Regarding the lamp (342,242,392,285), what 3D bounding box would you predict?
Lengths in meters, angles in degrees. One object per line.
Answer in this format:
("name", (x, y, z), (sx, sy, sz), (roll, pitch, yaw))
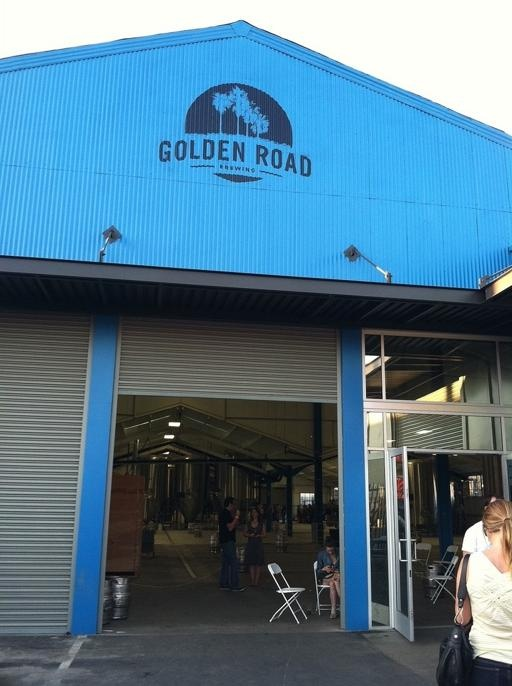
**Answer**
("lamp", (1.599, -1.158, 7.995), (0.662, 0.632, 0.446), (-2, -14, 8))
